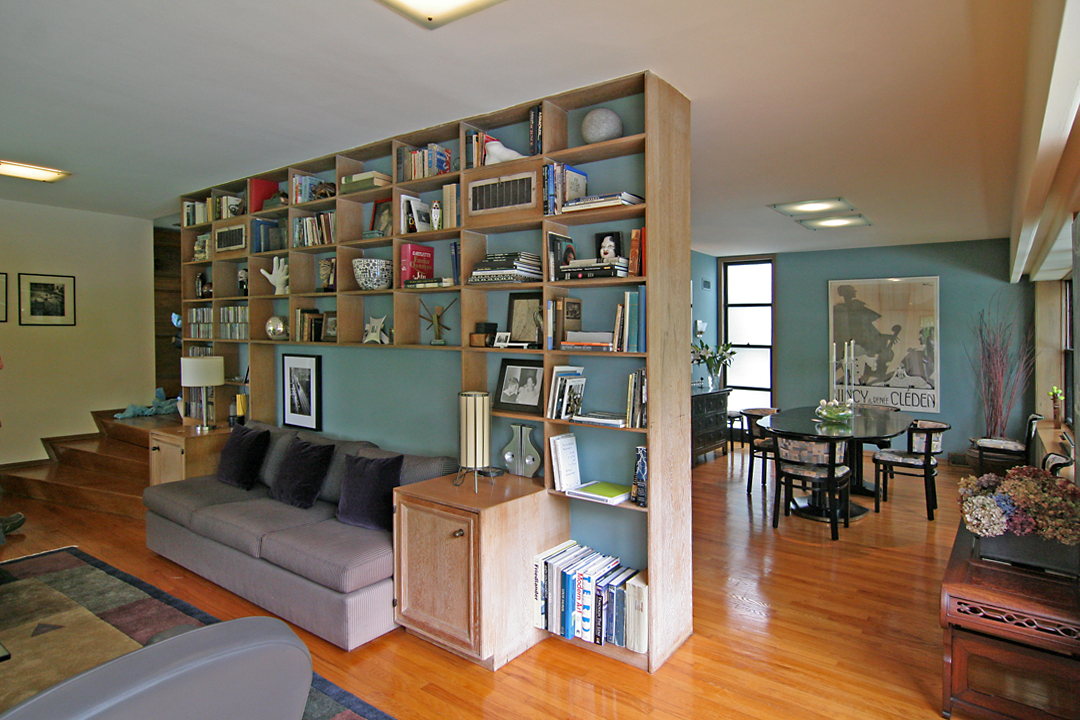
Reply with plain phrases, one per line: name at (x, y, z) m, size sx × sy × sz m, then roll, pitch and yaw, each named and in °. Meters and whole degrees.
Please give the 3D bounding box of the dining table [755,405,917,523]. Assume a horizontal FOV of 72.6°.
dining table at (3.213, 1.168, 7.981) m, size 1.424 × 0.851 × 1.332 m, roll -2°, pitch 2°, yaw 38°

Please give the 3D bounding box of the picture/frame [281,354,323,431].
picture/frame at (-2.308, 0.321, 7.249) m, size 0.807 × 0.881 × 0.079 m, roll 1°, pitch 0°, yaw 40°

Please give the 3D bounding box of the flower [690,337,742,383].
flower at (2.669, -0.028, 11.166) m, size 0.793 × 0.626 × 0.755 m, roll 0°, pitch 0°, yaw -22°

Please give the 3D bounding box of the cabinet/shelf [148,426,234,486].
cabinet/shelf at (-3.547, 0.909, 7.503) m, size 0.830 × 0.749 × 0.585 m, roll 1°, pitch -1°, yaw 41°

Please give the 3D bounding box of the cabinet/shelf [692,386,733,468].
cabinet/shelf at (2.357, 0.958, 10.094) m, size 0.505 × 1.022 × 1.192 m, roll -1°, pitch 1°, yaw 36°

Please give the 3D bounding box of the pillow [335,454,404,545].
pillow at (-1.309, 1.131, 5.789) m, size 0.636 × 0.551 × 0.214 m, roll -1°, pitch -23°, yaw 26°

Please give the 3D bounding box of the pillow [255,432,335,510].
pillow at (-2.025, 0.963, 6.336) m, size 0.605 × 0.531 × 0.180 m, roll -3°, pitch -26°, yaw 39°

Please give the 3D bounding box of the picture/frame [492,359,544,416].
picture/frame at (-0.148, 0.225, 5.765) m, size 0.467 × 0.404 × 0.035 m, roll 5°, pitch -9°, yaw 38°

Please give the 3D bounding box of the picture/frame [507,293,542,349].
picture/frame at (-0.103, -0.301, 5.742) m, size 0.472 × 0.514 × 0.043 m, roll -1°, pitch -5°, yaw 44°

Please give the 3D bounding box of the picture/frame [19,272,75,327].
picture/frame at (-5.751, -0.720, 8.582) m, size 0.031 × 0.798 × 0.720 m, roll -2°, pitch -1°, yaw 40°
